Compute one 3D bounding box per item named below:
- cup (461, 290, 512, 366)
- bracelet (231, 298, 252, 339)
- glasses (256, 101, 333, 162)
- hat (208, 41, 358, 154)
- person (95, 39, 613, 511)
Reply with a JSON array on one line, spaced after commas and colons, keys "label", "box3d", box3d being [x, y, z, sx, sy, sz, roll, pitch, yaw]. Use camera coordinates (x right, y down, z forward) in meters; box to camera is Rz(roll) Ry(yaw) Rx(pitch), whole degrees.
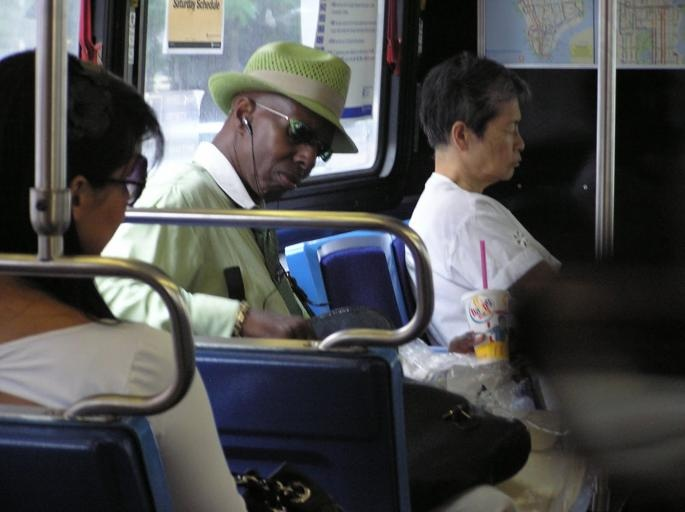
[{"label": "cup", "box3d": [0.407, 0.198, 2.064, 0.158, 0.228, 0.169, -3, -3, 0]}, {"label": "bracelet", "box3d": [-0.298, 0.195, 2.185, 0.024, 0.075, 0.074, 15, 34, 7]}, {"label": "glasses", "box3d": [-0.158, -0.439, 2.718, 0.204, 0.057, 0.195, 43, 9, 37]}, {"label": "hat", "box3d": [-0.216, -0.595, 2.777, 0.406, 0.231, 0.359, 27, -6, -18]}, {"label": "person", "box3d": [0.053, 0.009, 2.087, 1.263, 1.372, 0.740, 1, -1, 14]}]
